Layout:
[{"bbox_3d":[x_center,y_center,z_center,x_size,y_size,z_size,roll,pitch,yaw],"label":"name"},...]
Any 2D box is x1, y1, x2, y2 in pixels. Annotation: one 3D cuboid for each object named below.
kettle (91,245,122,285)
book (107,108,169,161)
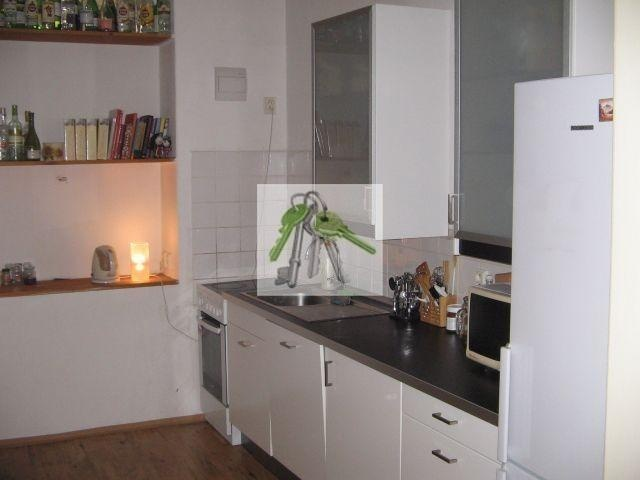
[{"bbox_3d":[-1.649,0.173,3.958,0.192,0.295,0.199,3,5,26],"label":"kettle"},{"bbox_3d":[-1.362,-0.770,3.884,0.397,0.419,0.259,1,11,-20],"label":"book"}]
